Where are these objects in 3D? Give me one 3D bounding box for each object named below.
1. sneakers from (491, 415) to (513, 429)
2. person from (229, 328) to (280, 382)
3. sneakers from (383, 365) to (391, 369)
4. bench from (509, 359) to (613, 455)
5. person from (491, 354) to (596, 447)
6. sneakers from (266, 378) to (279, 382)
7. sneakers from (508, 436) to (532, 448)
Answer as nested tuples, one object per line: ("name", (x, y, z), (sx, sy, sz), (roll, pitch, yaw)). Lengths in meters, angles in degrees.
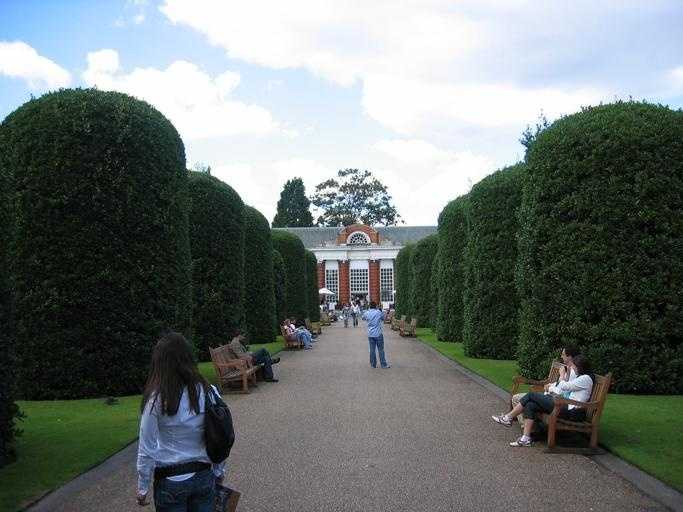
("sneakers", (2.622, 2.667, 7.940), (0.325, 0.166, 0.127), (23, 4, 34))
("person", (-2.228, 2.621, 12.714), (1.151, 1.570, 0.662), (-11, -13, -7))
("sneakers", (1.366, 3.304, 14.501), (0.220, 0.102, 0.079), (-7, -3, 31))
("bench", (3.241, 2.114, 7.140), (1.176, 1.261, 0.686), (-2, -2, 11))
("person", (3.083, 2.171, 7.345), (1.240, 1.579, 0.622), (6, -27, 20))
("sneakers", (-1.773, 3.166, 12.464), (0.295, 0.147, 0.110), (-2, -3, 2))
("sneakers", (2.610, 2.682, 7.063), (0.335, 0.169, 0.130), (2, -4, 3))
